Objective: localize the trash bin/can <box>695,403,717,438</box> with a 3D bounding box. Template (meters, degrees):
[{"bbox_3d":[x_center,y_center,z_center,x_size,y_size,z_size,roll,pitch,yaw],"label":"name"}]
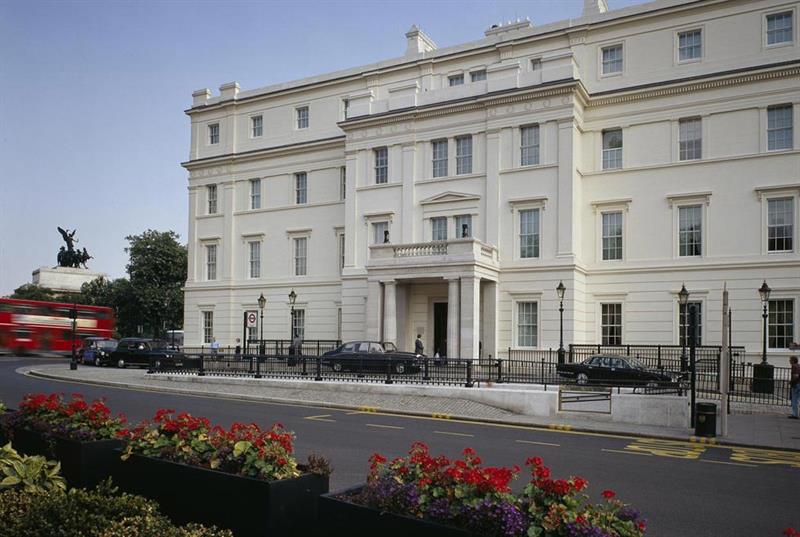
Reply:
[{"bbox_3d":[12.436,6.218,37.529,0.847,1.209,0.877,3,-6,3],"label":"trash bin/can"}]
